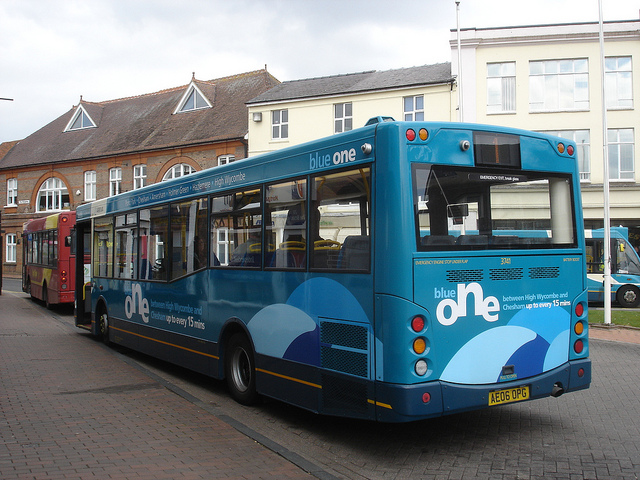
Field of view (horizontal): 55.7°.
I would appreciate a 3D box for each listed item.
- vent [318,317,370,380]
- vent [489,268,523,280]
[{"bbox_3d":[0.292,1.314,7.311,0.555,0.503,0.543,5,-4,-44],"label":"vent"},{"bbox_3d":[2.276,0.424,7.394,0.493,0.139,0.015,0,1,-25],"label":"vent"}]
